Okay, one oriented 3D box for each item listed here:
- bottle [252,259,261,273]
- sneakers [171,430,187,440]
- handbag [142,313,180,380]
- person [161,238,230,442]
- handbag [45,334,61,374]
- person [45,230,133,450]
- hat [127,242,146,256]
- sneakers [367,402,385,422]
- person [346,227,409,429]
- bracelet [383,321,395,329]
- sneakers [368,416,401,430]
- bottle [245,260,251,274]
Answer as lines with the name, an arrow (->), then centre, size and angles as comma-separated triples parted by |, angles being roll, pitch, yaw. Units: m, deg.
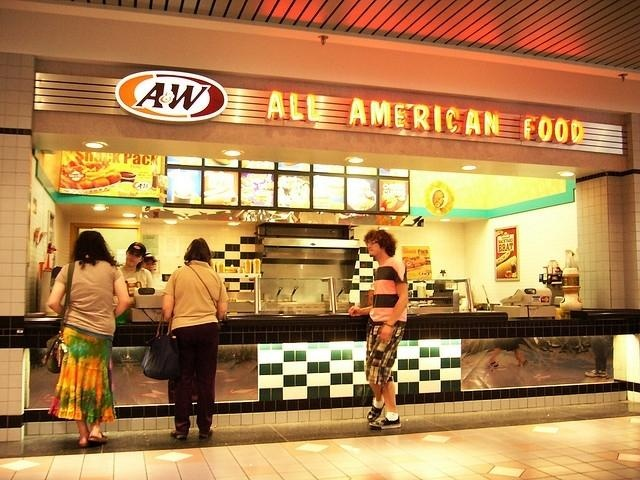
bottle -> -1.070, 0.445, 9.809 | 0.136, 0.226, 0.175 | 3, -3, -12
sneakers -> -1.384, 1.928, 5.703 | 0.080, 0.071, 0.181 | 1, 4, -36
handbag -> -1.499, 1.099, 5.491 | 0.308, 0.466, 0.190 | 3, -4, -20
person -> -1.250, 0.983, 5.707 | 0.620, 1.988, 0.373 | 3, -4, -23
handbag -> -2.468, 1.065, 5.379 | 0.129, 0.374, 0.212 | 4, -4, -26
person -> -2.174, 0.812, 5.444 | 0.694, 1.793, 0.205 | 3, -4, -17
hat -> -2.145, 0.106, 6.793 | 0.162, 0.123, 0.215 | 14, -27, -12
sneakers -> 0.582, 1.857, 6.225 | 0.109, 0.280, 0.113 | 14, -13, 48
person -> 0.681, 0.941, 6.107 | 0.432, 2.093, 0.373 | 2, -4, -6
bracelet -> 0.701, 0.870, 5.968 | 0.125, 0.064, 0.085 | 1, -3, 21
sneakers -> 0.686, 1.945, 6.141 | 0.328, 0.104, 0.125 | 1, -8, -3
bottle -> -1.231, 0.466, 9.923 | 0.111, 0.193, 0.220 | 3, -3, -13
